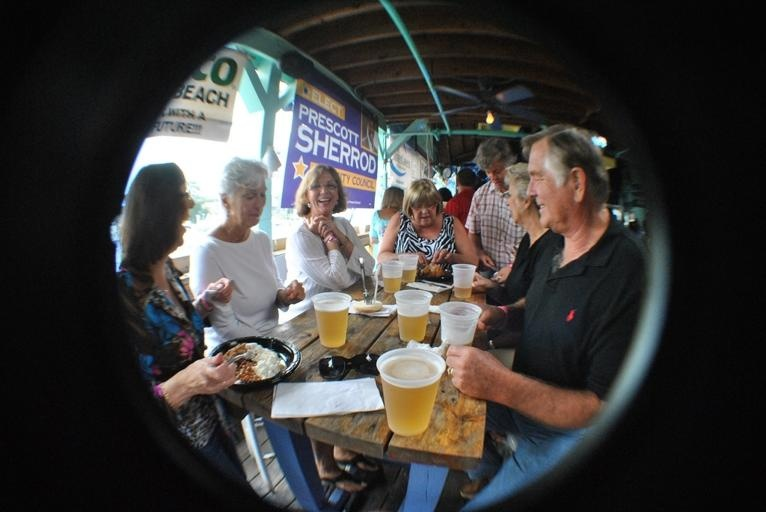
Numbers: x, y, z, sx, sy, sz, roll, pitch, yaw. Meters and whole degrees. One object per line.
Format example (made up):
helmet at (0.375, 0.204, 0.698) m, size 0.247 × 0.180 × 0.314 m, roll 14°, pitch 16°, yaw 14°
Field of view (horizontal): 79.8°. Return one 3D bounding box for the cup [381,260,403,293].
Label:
cup at (0.056, 0.139, 2.712) m, size 0.146 × 0.159 × 0.154 m, roll 2°, pitch -1°, yaw 0°

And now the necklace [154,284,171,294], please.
necklace at (-0.924, 0.143, 1.922) m, size 0.046 × 0.030 × 0.036 m, roll 6°, pitch -6°, yaw -13°

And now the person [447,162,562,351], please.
person at (0.796, 0.063, 2.843) m, size 0.564 × 1.363 × 0.474 m, roll -5°, pitch 38°, yaw -5°

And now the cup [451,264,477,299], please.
cup at (0.464, 0.159, 2.703) m, size 0.147 × 0.157 × 0.149 m, roll 0°, pitch 1°, yaw 0°

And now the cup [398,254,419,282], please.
cup at (0.175, 0.085, 3.066) m, size 0.171 × 0.174 × 0.169 m, roll 0°, pitch 5°, yaw 0°

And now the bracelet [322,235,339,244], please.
bracelet at (-0.350, -0.103, 3.023) m, size 0.057 × 0.053 × 0.056 m, roll -2°, pitch -17°, yaw 5°

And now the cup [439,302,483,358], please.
cup at (0.313, 0.283, 1.850) m, size 0.181 × 0.176 × 0.179 m, roll 2°, pitch 15°, yaw -1°

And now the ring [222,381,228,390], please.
ring at (-0.536, 0.436, 1.553) m, size 0.025 × 0.020 × 0.025 m, roll -10°, pitch -30°, yaw -6°

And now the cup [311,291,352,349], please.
cup at (-0.172, 0.268, 1.929) m, size 0.168 × 0.181 × 0.152 m, roll -6°, pitch 10°, yaw 28°

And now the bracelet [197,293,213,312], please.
bracelet at (-0.847, 0.225, 2.178) m, size 0.052 × 0.061 × 0.065 m, roll 17°, pitch 29°, yaw -46°

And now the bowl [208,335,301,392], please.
bowl at (-0.475, 0.403, 1.726) m, size 0.304 × 0.061 × 0.300 m, roll 9°, pitch 19°, yaw -3°

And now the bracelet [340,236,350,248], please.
bracelet at (-0.265, -0.084, 3.172) m, size 0.034 × 0.038 × 0.100 m, roll -9°, pitch -17°, yaw 4°

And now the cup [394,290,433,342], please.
cup at (0.129, 0.259, 1.996) m, size 0.206 × 0.217 × 0.200 m, roll 0°, pitch -1°, yaw 0°

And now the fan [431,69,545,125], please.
fan at (1.492, -1.992, 5.896) m, size 0.944 × 0.369 × 0.867 m, roll 17°, pitch 21°, yaw 39°

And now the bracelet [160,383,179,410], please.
bracelet at (-0.755, 0.492, 1.600) m, size 0.079 × 0.090 × 0.041 m, roll 2°, pitch 2°, yaw 14°

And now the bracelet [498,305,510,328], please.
bracelet at (0.609, 0.315, 2.323) m, size 0.084 × 0.080 × 0.081 m, roll -2°, pitch 4°, yaw -13°

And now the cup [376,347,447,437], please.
cup at (0.086, 0.442, 1.459) m, size 0.217 × 0.214 × 0.205 m, roll 1°, pitch 14°, yaw 0°
